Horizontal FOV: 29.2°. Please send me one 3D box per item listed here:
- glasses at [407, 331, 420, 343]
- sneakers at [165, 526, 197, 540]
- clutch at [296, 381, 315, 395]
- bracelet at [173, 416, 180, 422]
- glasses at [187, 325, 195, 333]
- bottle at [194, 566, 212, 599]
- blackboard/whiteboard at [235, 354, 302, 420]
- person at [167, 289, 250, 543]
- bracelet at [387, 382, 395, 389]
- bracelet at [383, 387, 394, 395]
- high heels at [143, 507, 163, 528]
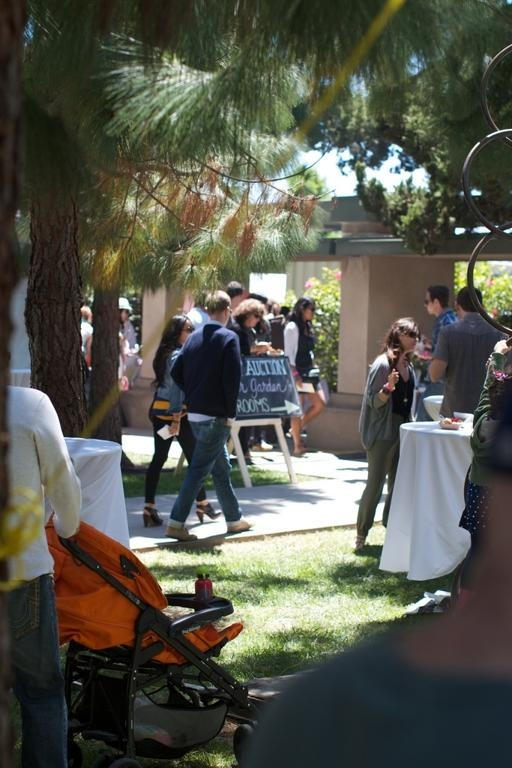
[{"bbox_3d":[1.012,-0.294,6.352,0.057,0.065,0.072,-28,9,24],"label":"glasses"},{"bbox_3d":[-0.523,1.029,6.821,0.240,0.109,0.086,6,7,-14],"label":"sneakers"},{"bbox_3d":[0.574,0.042,11.606,0.229,0.121,0.151,9,20,18],"label":"clutch"},{"bbox_3d":[-0.588,0.254,7.210,0.045,0.045,0.042,-1,2,8],"label":"bracelet"},{"bbox_3d":[-0.502,-0.417,7.461,0.045,0.045,0.017,-4,-1,-32],"label":"glasses"},{"bbox_3d":[-0.197,0.738,3.581,0.088,0.133,0.084,0,-10,0],"label":"bottle"},{"bbox_3d":[0.084,0.034,9.173,0.203,0.475,0.688,-16,-7,39],"label":"blackboard/whiteboard"},{"bbox_3d":[-0.340,0.228,6.898,0.573,1.703,0.720,0,-1,23],"label":"person"},{"bbox_3d":[0.850,0.006,6.265,0.040,0.013,0.040,10,-15,8],"label":"bracelet"},{"bbox_3d":[0.829,0.044,6.271,0.049,0.024,0.058,8,-27,4],"label":"bracelet"},{"bbox_3d":[-0.780,0.989,7.289,0.076,0.128,0.225,2,2,16],"label":"high heels"}]
